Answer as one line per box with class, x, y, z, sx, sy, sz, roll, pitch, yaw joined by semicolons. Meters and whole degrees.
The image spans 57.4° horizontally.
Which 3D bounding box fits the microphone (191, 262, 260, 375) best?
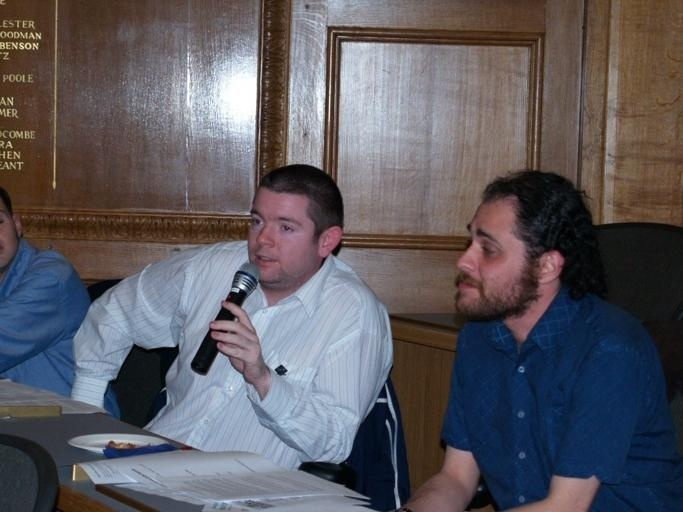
microphone;-0.374;0.212;2.027;0.095;0.103;0.461;-27;23;46
